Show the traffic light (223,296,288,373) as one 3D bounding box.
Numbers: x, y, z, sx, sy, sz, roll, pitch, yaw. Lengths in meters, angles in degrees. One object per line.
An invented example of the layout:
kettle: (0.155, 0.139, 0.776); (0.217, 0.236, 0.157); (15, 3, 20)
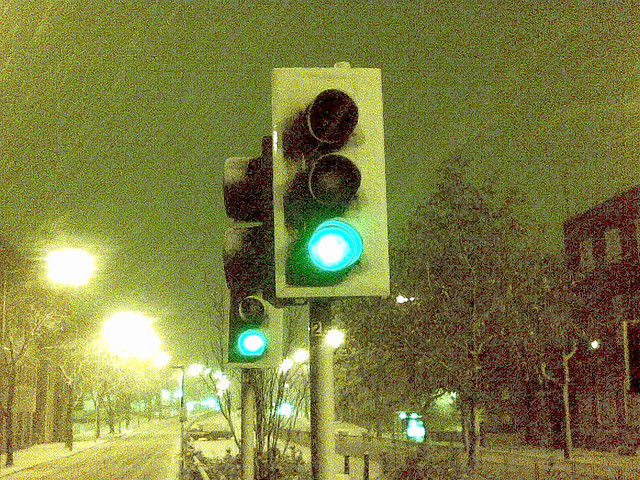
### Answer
traffic light: (-0.823, 1.199, 10.035); (0.703, 0.888, 0.518); (2, -18, -8)

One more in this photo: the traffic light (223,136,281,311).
traffic light: (-0.721, -0.059, 8.717); (0.646, 2.154, 0.449); (-4, -36, -3)
